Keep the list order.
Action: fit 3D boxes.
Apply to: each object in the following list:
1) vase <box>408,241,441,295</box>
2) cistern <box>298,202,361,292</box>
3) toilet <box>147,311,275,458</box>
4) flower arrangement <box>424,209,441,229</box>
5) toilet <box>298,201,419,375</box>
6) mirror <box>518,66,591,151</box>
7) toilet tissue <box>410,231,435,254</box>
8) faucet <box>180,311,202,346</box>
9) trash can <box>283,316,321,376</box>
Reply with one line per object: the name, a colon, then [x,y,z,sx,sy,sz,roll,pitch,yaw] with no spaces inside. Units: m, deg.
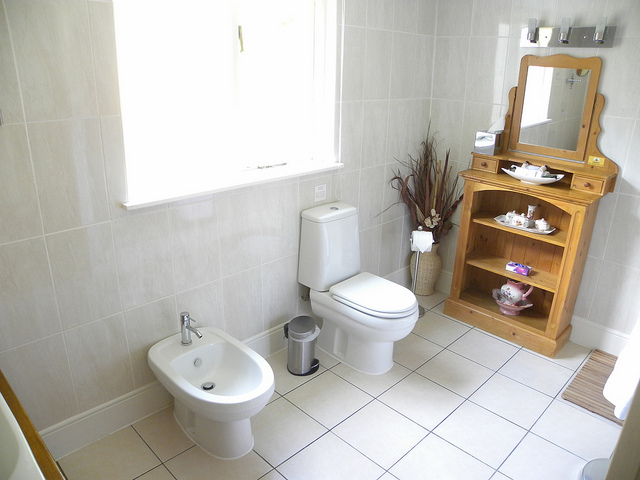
vase: [0.940,0.252,4.060,0.288,0.498,0.321,13,17,35]
cistern: [0.087,0.022,3.308,0.287,0.530,0.515,19,27,41]
toilet: [-0.607,0.841,2.596,0.730,0.700,0.483,18,25,40]
flower arrangement: [0.924,-0.179,3.719,0.120,0.146,0.070,5,25,13]
toilet: [0.304,0.364,3.173,0.890,1.033,0.510,19,27,40]
mirror: [1.683,-0.952,3.197,0.030,0.684,0.471,-25,36,-38]
toilet tissue: [0.789,0.005,3.582,0.177,0.211,0.144,-1,17,-3]
faucet: [-0.741,0.522,2.627,0.153,0.158,0.053,20,22,35]
trash can: [-0.118,0.728,3.124,0.224,0.334,0.233,-3,25,-2]
